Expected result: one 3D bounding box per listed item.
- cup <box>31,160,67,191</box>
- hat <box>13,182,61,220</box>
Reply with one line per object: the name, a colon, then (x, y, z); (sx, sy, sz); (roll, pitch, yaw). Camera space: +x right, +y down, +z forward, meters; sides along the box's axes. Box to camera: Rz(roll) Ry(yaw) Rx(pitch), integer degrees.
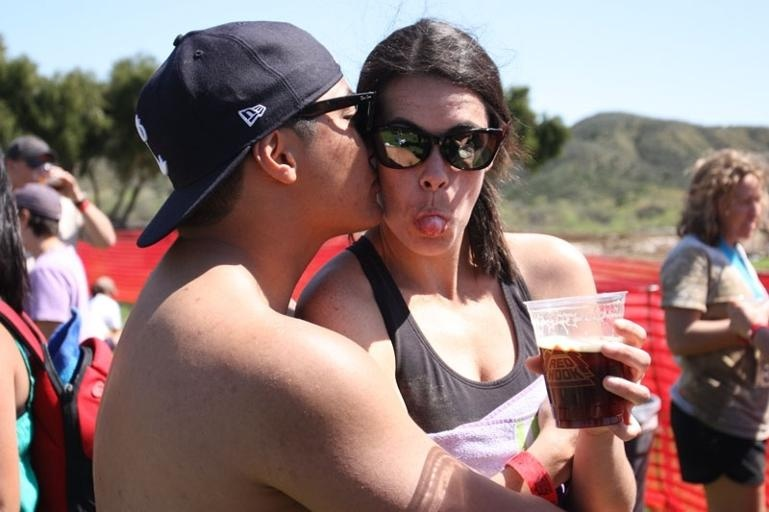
cup: (-3.128, -0.745, 7.282); (0.214, 0.272, 0.296); (28, 33, 25)
hat: (-2.848, -0.458, 6.382); (0.387, 0.210, 0.263); (28, 26, -3)
